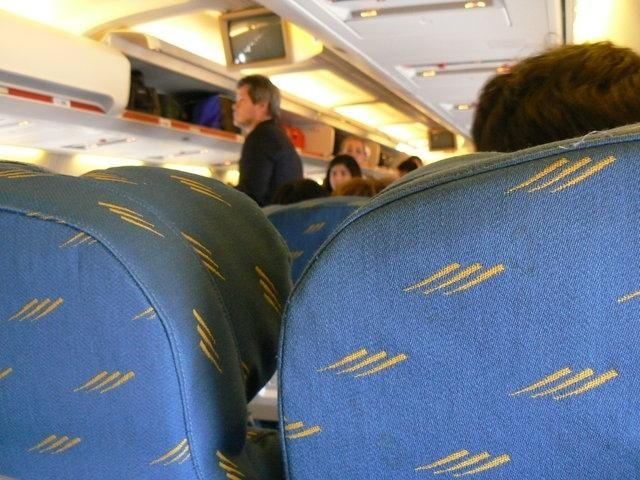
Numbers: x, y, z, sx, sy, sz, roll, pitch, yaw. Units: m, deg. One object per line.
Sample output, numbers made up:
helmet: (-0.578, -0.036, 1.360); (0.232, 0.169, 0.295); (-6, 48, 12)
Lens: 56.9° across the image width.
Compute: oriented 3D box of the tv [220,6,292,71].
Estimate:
tv: (-0.485, -1.502, 4.582); (0.524, 0.398, 0.312); (-8, 42, 1)
